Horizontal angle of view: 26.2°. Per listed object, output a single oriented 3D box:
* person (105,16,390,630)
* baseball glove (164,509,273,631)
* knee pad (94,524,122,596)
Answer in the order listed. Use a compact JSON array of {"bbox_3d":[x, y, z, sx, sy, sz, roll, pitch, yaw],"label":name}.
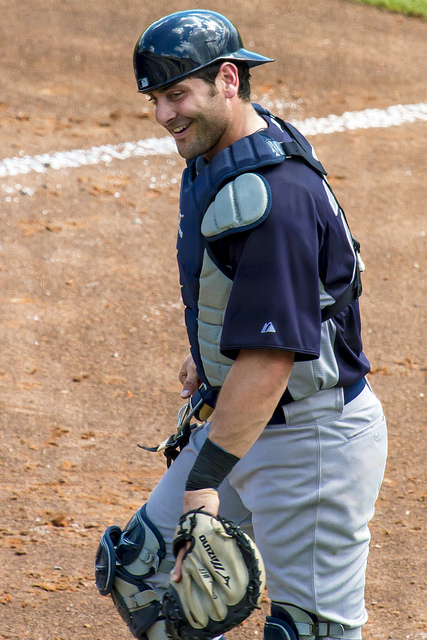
[{"bbox_3d":[0.125,0.099,3.053,0.913,2.103,0.943,-5,24,-20],"label":"person"},{"bbox_3d":[0.016,0.766,2.822,0.295,0.359,0.178,3,22,-2],"label":"baseball glove"},{"bbox_3d":[-0.370,0.868,3.299,0.097,0.205,0.175,8,8,9],"label":"knee pad"}]
